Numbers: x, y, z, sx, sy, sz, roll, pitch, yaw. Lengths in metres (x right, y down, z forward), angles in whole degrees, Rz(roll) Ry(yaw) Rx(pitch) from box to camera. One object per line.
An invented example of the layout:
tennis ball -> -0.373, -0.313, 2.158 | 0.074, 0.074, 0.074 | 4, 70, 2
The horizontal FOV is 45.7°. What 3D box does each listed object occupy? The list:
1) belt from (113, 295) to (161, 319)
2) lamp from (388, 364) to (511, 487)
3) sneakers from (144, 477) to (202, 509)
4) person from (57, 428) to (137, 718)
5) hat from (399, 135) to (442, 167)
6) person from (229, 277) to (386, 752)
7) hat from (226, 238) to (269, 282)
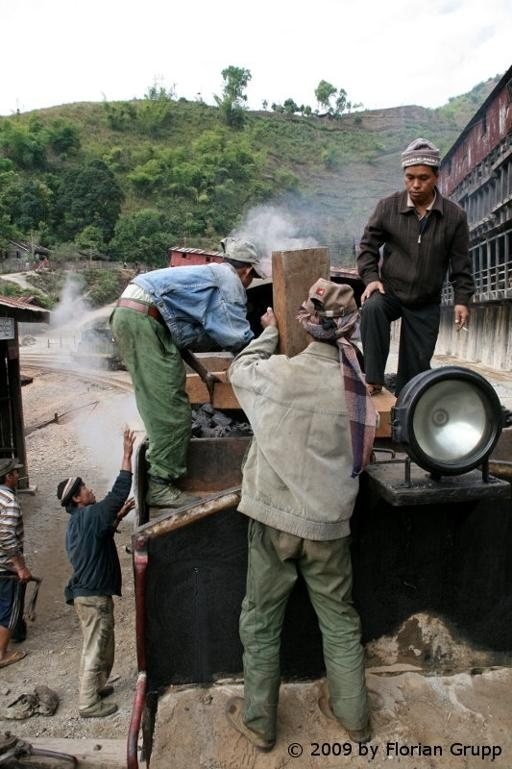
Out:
belt -> -0.595, -0.369, 2.971 | 0.242, 0.117, 0.094 | 1, 5, 22
lamp -> 0.655, 0.125, 2.049 | 0.373, 0.362, 0.169 | 0, 5, 12
sneakers -> -0.381, 0.494, 2.810 | 0.235, 0.126, 0.215 | 0, 4, 12
person -> -0.985, 1.292, 3.803 | 0.551, 1.616, 0.333 | 0, 5, 5
hat -> 0.752, -1.037, 2.753 | 0.167, 0.135, 0.163 | 1, 26, 2
person -> 0.159, 0.437, 2.315 | 0.548, 1.664, 0.544 | -1, 5, -2
hat -> -0.066, -0.668, 3.236 | 0.275, 0.158, 0.188 | 23, 29, -5
